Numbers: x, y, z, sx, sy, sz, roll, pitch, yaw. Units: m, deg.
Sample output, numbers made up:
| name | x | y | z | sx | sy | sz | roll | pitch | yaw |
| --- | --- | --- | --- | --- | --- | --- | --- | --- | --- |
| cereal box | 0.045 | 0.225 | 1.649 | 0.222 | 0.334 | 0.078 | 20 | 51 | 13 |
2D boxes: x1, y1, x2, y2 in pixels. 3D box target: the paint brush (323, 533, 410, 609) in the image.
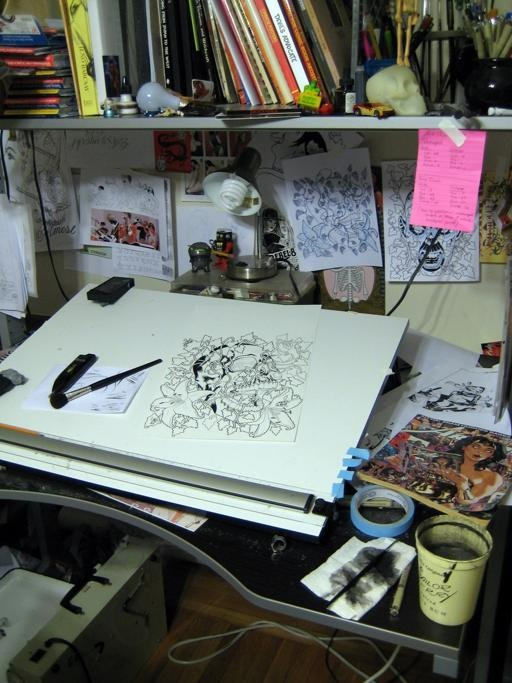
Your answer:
| name | x | y | z | sx | sy | sz | roll | pitch | yaw |
| --- | --- | --- | --- | --- | --- | --- | --- | --- | --- |
| paint brush | 0.130 | 0.280 | 0.656 | 0.074 | 0.012 | 0.142 | 13 | 25 | 39 |

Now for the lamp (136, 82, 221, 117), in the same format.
| name | x | y | z | sx | sy | sz | roll | pitch | yaw |
| --- | --- | --- | --- | --- | --- | --- | --- | --- | --- |
| lamp | -0.140 | -0.418 | 0.975 | 0.155 | 0.060 | 0.064 | 9 | 32 | 1 |

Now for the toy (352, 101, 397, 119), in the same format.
| name | x | y | z | sx | sy | sz | roll | pitch | yaw |
| --- | --- | --- | --- | --- | --- | --- | --- | --- | --- |
| toy | 0.174 | -0.355 | 0.842 | 0.041 | 0.024 | 0.075 | -19 | 25 | -36 |

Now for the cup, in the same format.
| name | x | y | z | sx | sy | sz | roll | pitch | yaw |
| --- | --- | --- | --- | --- | --- | --- | --- | --- | --- |
| cup | 0.220 | 0.251 | 0.618 | 0.080 | 0.100 | 0.109 | 5 | 22 | 23 |

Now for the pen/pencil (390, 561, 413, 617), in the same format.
| name | x | y | z | sx | sy | sz | roll | pitch | yaw |
| --- | --- | --- | --- | --- | --- | --- | --- | --- | --- |
| pen/pencil | 0.169 | 0.283 | 0.630 | 0.013 | 0.011 | 0.083 | -1 | 16 | 24 |

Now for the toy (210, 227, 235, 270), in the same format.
| name | x | y | z | sx | sy | sz | roll | pitch | yaw |
| --- | --- | --- | --- | --- | --- | --- | --- | --- | --- |
| toy | -0.080 | -0.228 | 1.340 | 0.061 | 0.082 | 0.049 | 20 | 29 | 36 |

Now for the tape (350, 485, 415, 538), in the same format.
| name | x | y | z | sx | sy | sz | roll | pitch | yaw |
| --- | --- | --- | --- | --- | --- | --- | --- | --- | --- |
| tape | 0.173 | 0.232 | 0.738 | 0.074 | 0.038 | 0.056 | -5 | 20 | -23 |

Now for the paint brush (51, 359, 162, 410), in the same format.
| name | x | y | z | sx | sy | sz | roll | pitch | yaw |
| --- | --- | --- | --- | --- | --- | --- | --- | --- | --- |
| paint brush | -0.251 | 0.068 | 0.934 | 0.201 | 0.031 | 0.031 | -22 | 36 | -1 |
